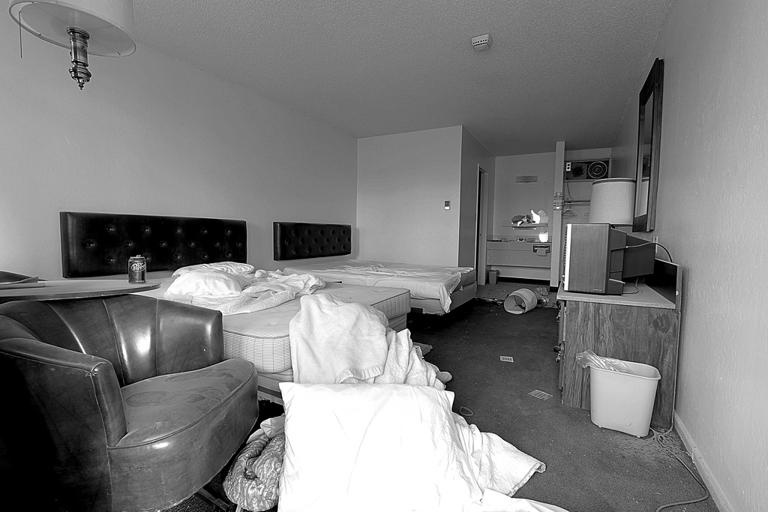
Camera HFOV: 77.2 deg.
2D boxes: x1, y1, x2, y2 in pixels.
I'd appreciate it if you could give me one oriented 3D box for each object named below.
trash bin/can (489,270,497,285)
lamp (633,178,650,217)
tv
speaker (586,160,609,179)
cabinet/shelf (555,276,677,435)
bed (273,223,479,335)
[{"bbox_3d":[1.874,0.378,8.217,0.199,0.223,0.194,1,-1,15],"label":"trash bin/can"},{"bbox_3d":[2.098,-0.478,3.925,0.062,0.250,0.265,11,-9,9],"label":"lamp"},{"bbox_3d":[1.566,0.017,3.384,0.516,0.412,0.539,2,3,33],"label":"tv"},{"bbox_3d":[3.288,-1.342,7.427,0.296,0.289,0.177,1,5,21],"label":"speaker"},{"bbox_3d":[1.727,0.586,3.564,0.729,0.978,0.999,2,2,34],"label":"cabinet/shelf"},{"bbox_3d":[-0.190,0.130,5.246,1.574,0.731,1.308,3,5,30],"label":"bed"}]
